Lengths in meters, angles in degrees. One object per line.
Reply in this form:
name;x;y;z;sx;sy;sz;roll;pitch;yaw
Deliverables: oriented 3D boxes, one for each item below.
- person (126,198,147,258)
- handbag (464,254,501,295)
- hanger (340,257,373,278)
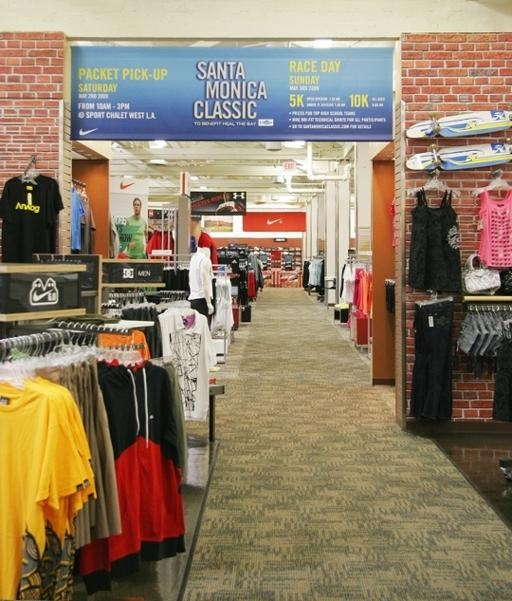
person;-1.753;-1.069;7.365;0.282;0.903;0.452;0;2;-14
handbag;1.950;-0.224;4.362;0.300;0.347;0.244;1;2;25
hanger;1.828;-0.663;9.192;0.296;0.465;0.137;8;2;33
